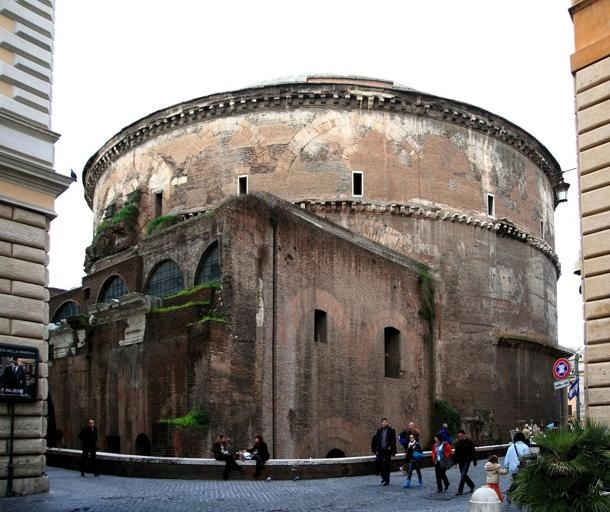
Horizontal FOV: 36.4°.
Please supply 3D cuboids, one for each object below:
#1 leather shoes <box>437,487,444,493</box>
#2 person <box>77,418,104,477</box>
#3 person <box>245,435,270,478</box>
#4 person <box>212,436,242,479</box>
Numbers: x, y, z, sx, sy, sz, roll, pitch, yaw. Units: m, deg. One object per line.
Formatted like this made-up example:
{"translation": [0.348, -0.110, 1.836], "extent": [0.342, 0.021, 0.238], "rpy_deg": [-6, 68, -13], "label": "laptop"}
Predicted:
{"translation": [3.090, 5.340, 21.140], "extent": [0.126, 0.125, 0.311], "rpy_deg": [-4, -18, 7], "label": "leather shoes"}
{"translation": [-5.570, 4.944, 23.766], "extent": [0.538, 1.470, 1.140], "rpy_deg": [3, -18, -13], "label": "person"}
{"translation": [-1.170, 5.071, 23.469], "extent": [0.472, 1.120, 0.842], "rpy_deg": [3, -18, -15], "label": "person"}
{"translation": [-2.014, 5.101, 23.637], "extent": [0.659, 1.282, 1.738], "rpy_deg": [1, -18, -6], "label": "person"}
